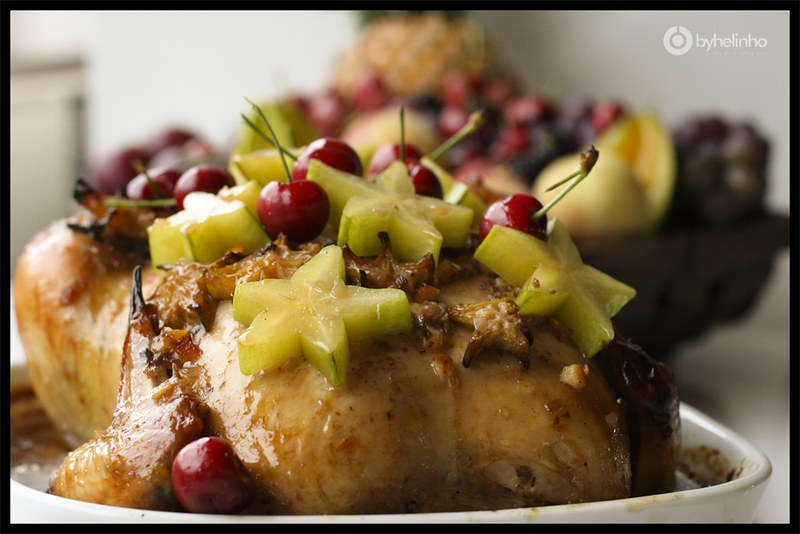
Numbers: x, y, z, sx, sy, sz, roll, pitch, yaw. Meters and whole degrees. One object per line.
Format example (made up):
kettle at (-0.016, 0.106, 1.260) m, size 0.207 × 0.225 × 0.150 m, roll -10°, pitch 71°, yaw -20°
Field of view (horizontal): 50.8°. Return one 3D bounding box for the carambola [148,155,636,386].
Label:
carambola at (0.040, -0.001, 1.690) m, size 0.635 × 0.268 × 0.578 m, roll 3°, pitch 28°, yaw -5°
